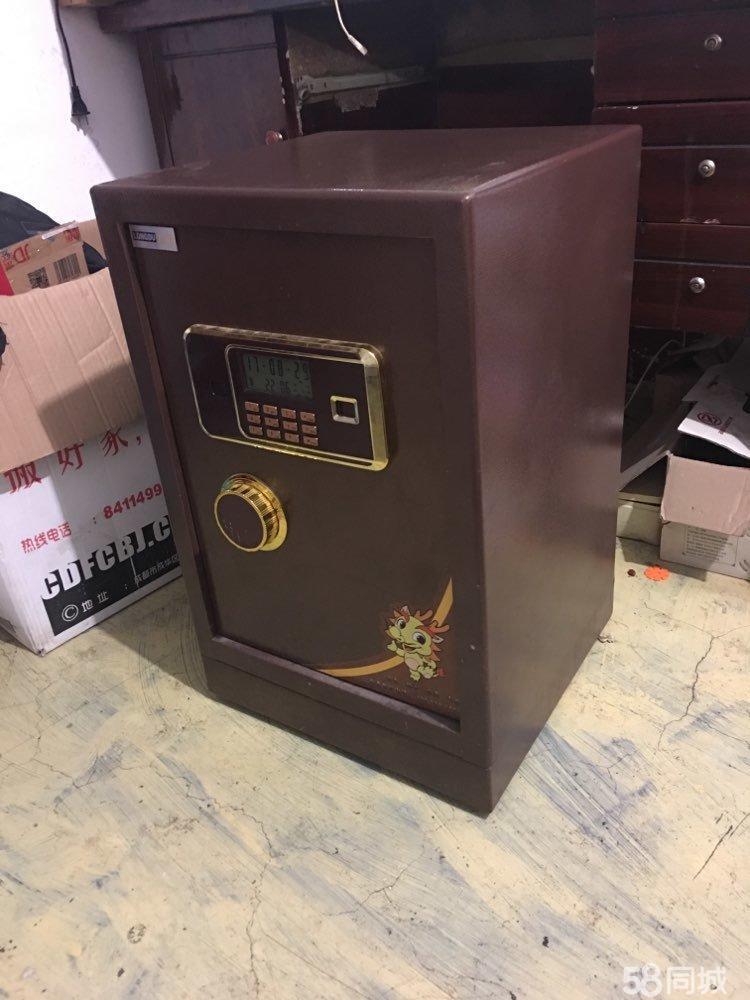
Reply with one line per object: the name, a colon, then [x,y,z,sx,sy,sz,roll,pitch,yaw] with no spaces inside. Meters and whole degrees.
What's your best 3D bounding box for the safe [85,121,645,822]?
safe: [0.015,-0.066,0.913,0.423,0.614,0.444,13,39,28]
